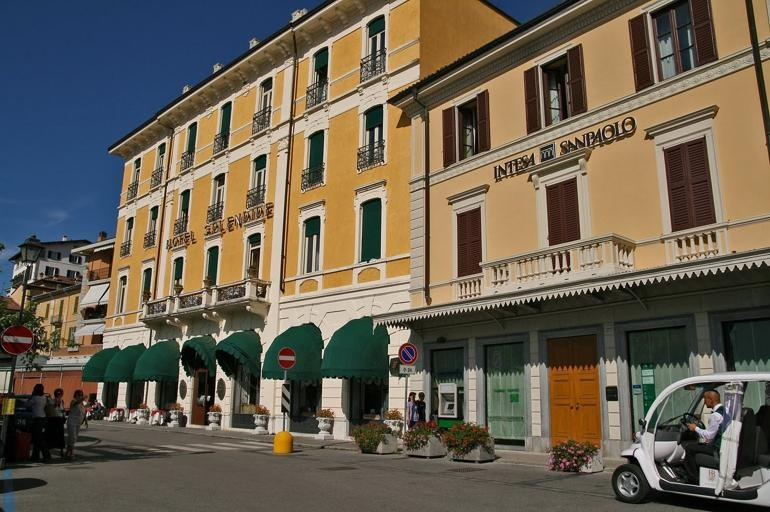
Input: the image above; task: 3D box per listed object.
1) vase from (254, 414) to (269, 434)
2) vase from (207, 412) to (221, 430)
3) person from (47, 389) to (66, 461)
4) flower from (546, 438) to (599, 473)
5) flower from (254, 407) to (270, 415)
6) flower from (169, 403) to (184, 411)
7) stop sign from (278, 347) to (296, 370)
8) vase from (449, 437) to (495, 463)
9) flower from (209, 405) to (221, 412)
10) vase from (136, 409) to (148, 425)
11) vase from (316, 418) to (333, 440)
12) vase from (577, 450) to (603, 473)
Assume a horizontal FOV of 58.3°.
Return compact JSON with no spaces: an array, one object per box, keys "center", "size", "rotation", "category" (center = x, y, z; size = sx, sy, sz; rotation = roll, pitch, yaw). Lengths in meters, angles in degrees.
[{"center":[-5.546,7.617,31.378],"size":[0.584,0.896,0.716],"rotation":[4,-18,-13],"category":"vase"},{"center":[-8.276,8.037,33.713],"size":[0.734,0.738,0.712],"rotation":[5,-9,-41],"category":"vase"},{"center":[-10.452,5.288,22.086],"size":[0.674,2.084,1.000],"rotation":[8,-19,-24],"category":"person"},{"center":[5.770,5.788,20.484],"size":[1.287,0.753,1.350],"rotation":[2,-16,-23],"category":"flower"},{"center":[-5.561,7.086,31.750],"size":[0.413,0.262,0.417],"rotation":[3,-9,1],"category":"flower"},{"center":[-10.891,7.961,36.383],"size":[0.465,0.247,0.460],"rotation":[6,-10,-24],"category":"flower"},{"center":[-3.547,3.628,24.889],"size":[0.418,0.799,0.897],"rotation":[-9,-20,28],"category":"stop sign"},{"center":[2.853,6.198,22.010],"size":[1.342,0.701,0.596],"rotation":[-1,-18,5],"category":"vase"},{"center":[-8.224,7.502,33.969],"size":[0.547,0.394,0.455],"rotation":[5,-18,-14],"category":"flower"},{"center":[-13.346,8.908,38.275],"size":[0.673,0.835,0.685],"rotation":[-12,-19,27],"category":"vase"},{"center":[-2.431,7.177,28.787],"size":[0.763,0.782,0.786],"rotation":[-3,-11,20],"category":"vase"},{"center":[5.997,5.902,20.145],"size":[0.505,0.544,0.773],"rotation":[-13,-19,43],"category":"vase"}]
